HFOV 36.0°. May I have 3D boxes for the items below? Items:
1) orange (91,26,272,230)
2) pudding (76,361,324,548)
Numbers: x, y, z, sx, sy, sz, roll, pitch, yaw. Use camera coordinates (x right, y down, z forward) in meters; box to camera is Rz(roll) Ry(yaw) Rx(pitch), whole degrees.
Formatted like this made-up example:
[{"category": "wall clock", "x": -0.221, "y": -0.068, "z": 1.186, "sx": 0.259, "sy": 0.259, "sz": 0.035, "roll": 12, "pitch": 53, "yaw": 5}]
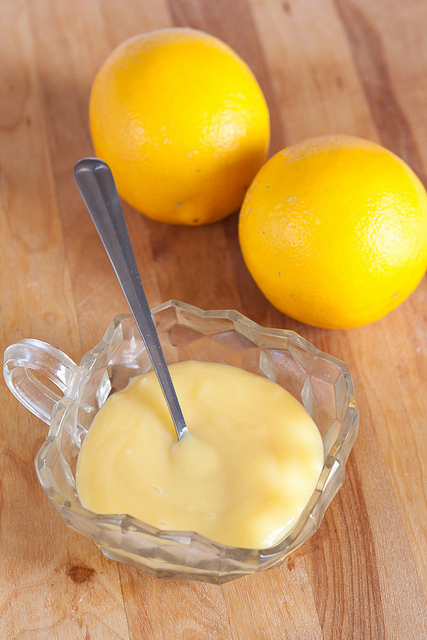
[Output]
[{"category": "orange", "x": -0.039, "y": -0.174, "z": 0.676, "sx": 0.193, "sy": 0.171, "sz": 0.198, "roll": -5, "pitch": 105, "yaw": 21}, {"category": "pudding", "x": -0.010, "y": 0.095, "z": 0.517, "sx": 0.189, "sy": 0.182, "sz": 0.052, "roll": 18, "pitch": 38, "yaw": -12}]
